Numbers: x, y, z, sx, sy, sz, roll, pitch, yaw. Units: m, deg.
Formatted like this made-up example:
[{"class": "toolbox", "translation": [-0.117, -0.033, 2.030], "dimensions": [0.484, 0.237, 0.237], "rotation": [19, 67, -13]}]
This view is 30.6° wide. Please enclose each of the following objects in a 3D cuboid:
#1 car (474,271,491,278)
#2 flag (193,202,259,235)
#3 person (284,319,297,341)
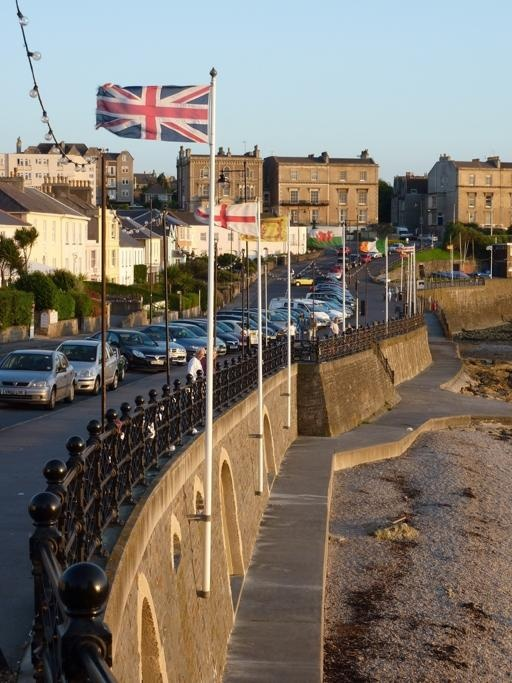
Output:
[{"class": "car", "translation": [28.811, -8.704, 120.184], "dimensions": [2.014, 0.993, 7.726], "rotation": [13, 7, 13]}, {"class": "flag", "translation": [-0.536, -2.456, 18.451], "dimensions": [1.107, 1.070, 0.309], "rotation": [0, 8, -23]}, {"class": "person", "translation": [1.375, -0.478, 37.208], "dimensions": [0.510, 0.914, 1.322], "rotation": [0, -1, 0]}]
